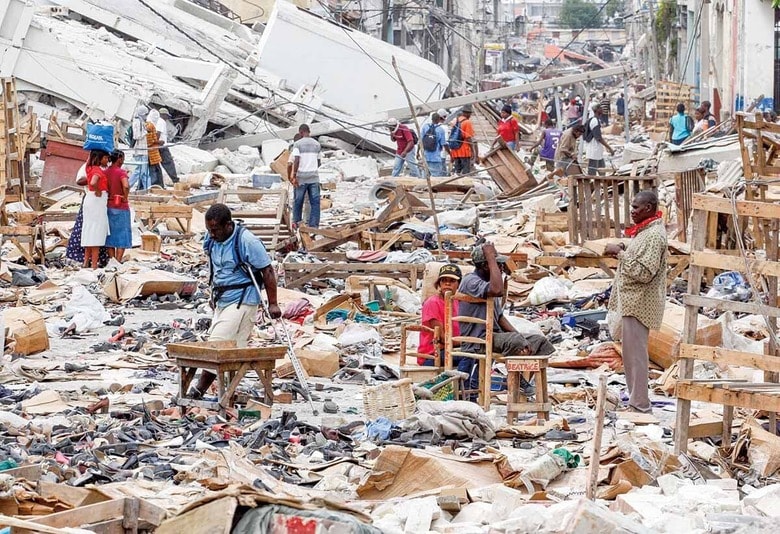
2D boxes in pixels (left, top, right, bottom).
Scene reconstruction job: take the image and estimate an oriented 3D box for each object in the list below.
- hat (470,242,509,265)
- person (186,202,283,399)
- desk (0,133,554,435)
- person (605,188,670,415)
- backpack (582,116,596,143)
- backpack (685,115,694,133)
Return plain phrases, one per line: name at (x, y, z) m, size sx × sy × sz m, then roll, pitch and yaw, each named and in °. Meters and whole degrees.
hat at (1.061, -0.109, 9.119) m, size 0.384 × 0.196 × 0.230 m, roll -10°, pitch 16°, yaw -4°
person at (-1.505, 0.102, 8.756) m, size 0.827 × 1.776 × 0.654 m, roll 4°, pitch 0°, yaw -3°
desk at (-1.597, -0.163, 10.717) m, size 7.184 × 2.791 × 4.971 m, roll 3°, pitch -2°, yaw 10°
person at (2.558, 0.330, 9.140) m, size 0.619 × 2.269 × 0.764 m, roll 4°, pitch 0°, yaw 15°
backpack at (4.830, -3.324, 21.118) m, size 0.277 × 0.594 × 0.859 m, roll 4°, pitch -1°, yaw 12°
backpack at (7.422, -3.485, 21.622) m, size 0.159 × 0.485 × 0.793 m, roll 4°, pitch -1°, yaw 22°
